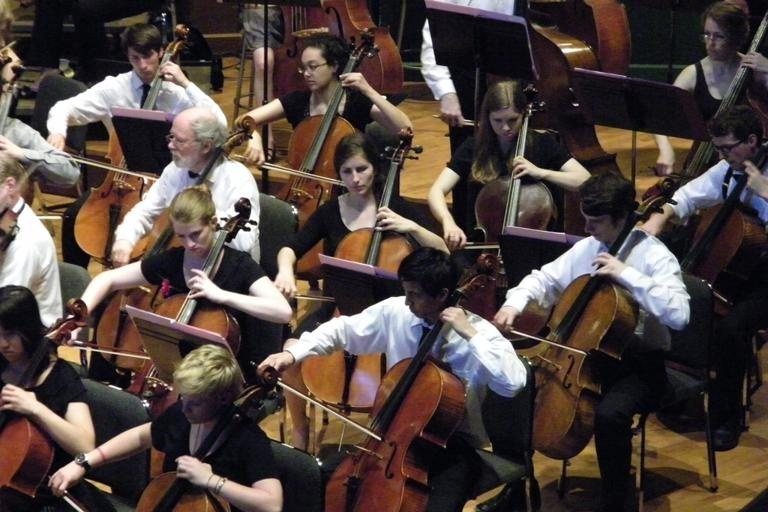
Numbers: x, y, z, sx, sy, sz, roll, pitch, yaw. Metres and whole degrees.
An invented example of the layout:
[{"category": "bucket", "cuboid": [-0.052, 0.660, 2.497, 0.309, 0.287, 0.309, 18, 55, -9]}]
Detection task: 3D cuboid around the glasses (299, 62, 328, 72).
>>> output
[{"category": "glasses", "cuboid": [-0.420, -1.141, 4.649, 0.110, 0.031, 0.102, -3, 1, -40]}]
